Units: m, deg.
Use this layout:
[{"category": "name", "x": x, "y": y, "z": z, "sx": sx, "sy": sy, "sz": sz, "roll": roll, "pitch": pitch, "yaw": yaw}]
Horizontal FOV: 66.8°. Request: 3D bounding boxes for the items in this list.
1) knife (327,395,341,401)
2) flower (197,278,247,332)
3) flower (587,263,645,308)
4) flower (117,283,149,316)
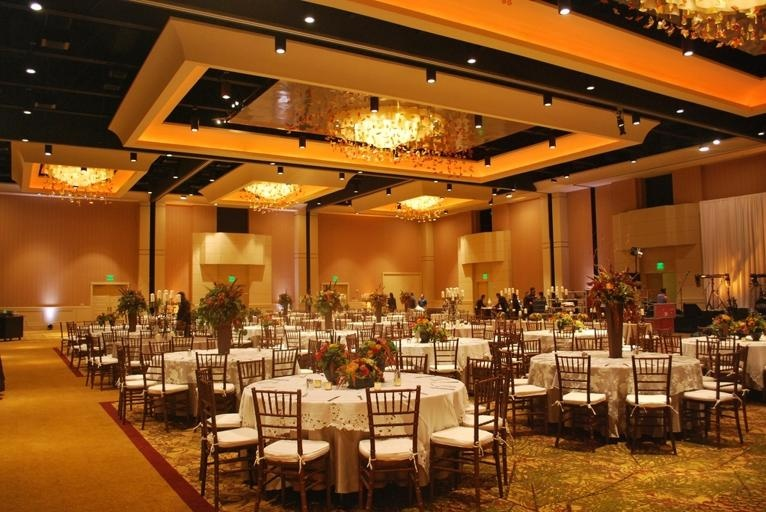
[{"category": "knife", "x": -0.673, "y": 1.985, "z": 8.052, "sx": 0.047, "sy": 0.034, "sz": 0.326, "roll": 5, "pitch": 5, "yaw": 25}, {"category": "flower", "x": -3.069, "y": 0.933, "z": 11.115, "sx": 0.711, "sy": 1.013, "sz": 0.787, "roll": 3, "pitch": -2, "yaw": -39}, {"category": "flower", "x": 4.088, "y": 0.589, "z": 10.656, "sx": 0.622, "sy": 0.435, "sz": 0.566, "roll": -14, "pitch": 3, "yaw": -23}, {"category": "flower", "x": -8.037, "y": 1.398, "z": 18.614, "sx": 1.011, "sy": 1.039, "sz": 0.991, "roll": 1, "pitch": 7, "yaw": 26}]
